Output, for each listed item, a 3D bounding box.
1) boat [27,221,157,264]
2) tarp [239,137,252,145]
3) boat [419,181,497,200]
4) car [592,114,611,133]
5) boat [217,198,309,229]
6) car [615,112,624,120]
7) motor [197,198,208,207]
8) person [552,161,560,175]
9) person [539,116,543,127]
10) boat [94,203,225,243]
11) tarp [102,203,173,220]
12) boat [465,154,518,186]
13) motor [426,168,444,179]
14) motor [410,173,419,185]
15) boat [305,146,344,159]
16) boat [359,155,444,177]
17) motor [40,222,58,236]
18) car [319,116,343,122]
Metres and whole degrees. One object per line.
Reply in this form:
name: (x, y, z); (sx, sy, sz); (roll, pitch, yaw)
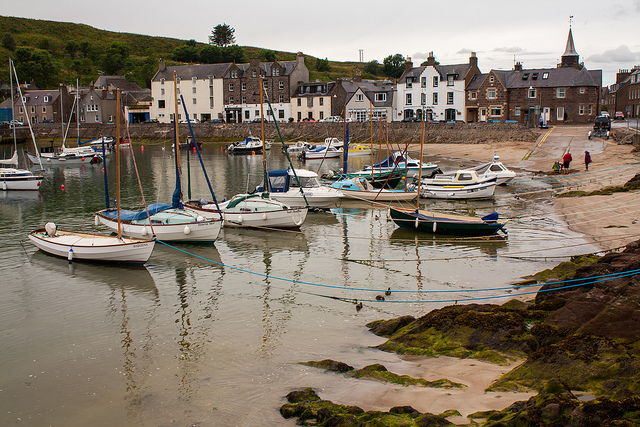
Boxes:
boat: (-13.872, 1.828, 45.757); (8.103, 2.196, 2.457); (3, 10, 34)
tarp: (-10.306, -10.321, 105.711); (1.452, 0.821, 12.104); (-2, 7, -6)
boat: (11.003, -1.855, 59.327); (6.238, 1.221, 2.209); (1, 11, 14)
car: (32.103, -10.229, 85.653); (2.072, 1.431, 4.032); (2, 12, 30)
boat: (-5.010, -0.078, 51.194); (8.210, 1.639, 2.523); (1, 7, 0)
car: (44.517, -14.449, 111.682); (1.220, 0.723, 1.760); (1, 10, 19)
motor: (-8.267, -0.797, 52.805); (0.611, 0.215, 0.604); (3, 39, -6)
person: (20.190, -3.882, 63.998); (0.525, 1.054, 1.011); (0, 9, 13)
person: (27.355, -11.304, 92.946); (0.364, 0.921, 1.048); (0, 8, 15)
boat: (-10.157, 0.572, 48.431); (8.262, 1.614, 2.854); (4, 18, 11)
tarp: (-12.034, 0.064, 49.125); (4.645, 0.882, 1.475); (-3, 4, 22)
boat: (13.536, -3.293, 61.221); (4.878, 1.615, 1.878); (-7, 17, 6)
motor: (10.066, -3.616, 65.780); (0.851, 0.705, 2.670); (-4, -4, 30)
motor: (8.667, -3.242, 67.818); (1.047, 0.822, 1.109); (1, 9, 12)
boat: (0.174, -7.281, 91.574); (6.533, 1.303, 1.795); (-4, 26, -10)
boat: (5.491, -4.109, 66.868); (9.278, 1.931, 2.569); (-2, 17, -4)
motor: (-16.984, 0.923, 47.454); (0.907, 0.831, 0.972); (3, 6, -14)
car: (2.069, -14.126, 113.479); (3.170, 0.802, 1.430); (6, 12, 29)
